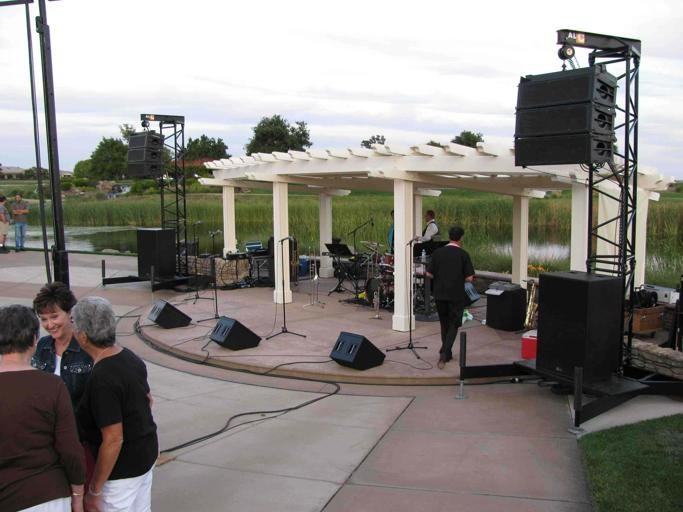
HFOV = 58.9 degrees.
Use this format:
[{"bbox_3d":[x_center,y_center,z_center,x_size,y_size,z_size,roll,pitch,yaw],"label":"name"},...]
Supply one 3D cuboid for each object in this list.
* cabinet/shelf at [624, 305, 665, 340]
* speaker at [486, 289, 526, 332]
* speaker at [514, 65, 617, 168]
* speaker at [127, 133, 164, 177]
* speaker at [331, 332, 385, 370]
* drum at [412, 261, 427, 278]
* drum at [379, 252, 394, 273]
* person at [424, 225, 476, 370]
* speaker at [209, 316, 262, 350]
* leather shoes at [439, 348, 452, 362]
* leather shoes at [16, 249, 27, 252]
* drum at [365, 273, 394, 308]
[{"bbox_3d":[5.126,1.116,10.314,0.736,0.428,0.402,-4,5,-33],"label":"cabinet/shelf"},{"bbox_3d":[3.177,0.912,11.619,0.639,0.819,0.628,-12,10,-29],"label":"speaker"},{"bbox_3d":[3.034,-1.898,8.301,1.310,1.299,0.586,2,11,20],"label":"speaker"},{"bbox_3d":[-5.203,-2.671,15.910,0.912,1.194,0.792,-2,10,-3],"label":"speaker"},{"bbox_3d":[0.169,1.414,9.402,0.625,0.468,0.690,-11,-9,4],"label":"speaker"},{"bbox_3d":[1.652,0.298,13.049,0.290,0.354,0.372,-6,8,-34],"label":"drum"},{"bbox_3d":[0.954,0.123,13.014,0.372,0.330,0.364,0,-1,0],"label":"drum"},{"bbox_3d":[1.696,0.599,9.374,0.708,2.068,0.751,-2,11,1],"label":"person"},{"bbox_3d":[-1.855,1.405,10.295,0.620,0.439,0.627,-10,9,-33],"label":"speaker"},{"bbox_3d":[1.611,1.498,9.380,0.201,0.212,0.352,1,10,12],"label":"leather shoes"},{"bbox_3d":[-12.052,-0.231,22.635,0.172,0.065,0.169,-9,2,3],"label":"leather shoes"},{"bbox_3d":[0.933,0.750,13.607,0.587,0.719,0.752,-7,6,-28],"label":"drum"}]
